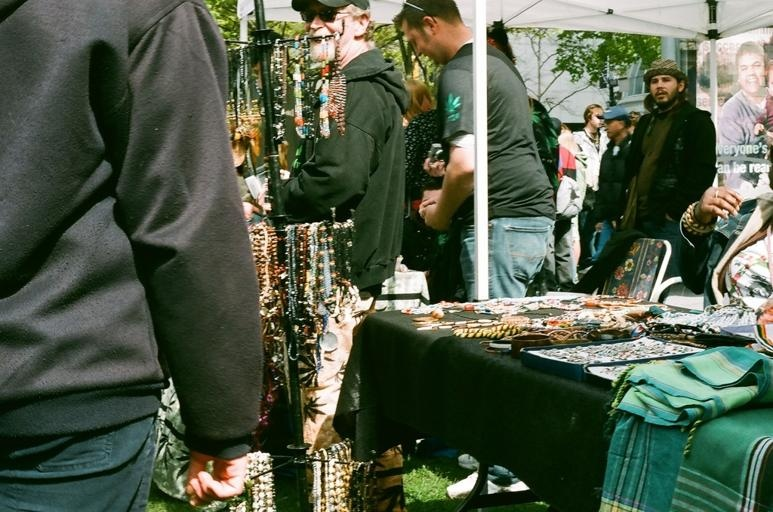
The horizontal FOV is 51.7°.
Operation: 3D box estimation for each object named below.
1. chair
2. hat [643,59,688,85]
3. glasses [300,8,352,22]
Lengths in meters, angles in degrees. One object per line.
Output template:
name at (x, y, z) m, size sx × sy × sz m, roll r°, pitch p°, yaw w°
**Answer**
chair at (1.197, 0.052, 3.763) m, size 0.399 × 0.412 × 0.369 m, roll -2°, pitch 4°, yaw -34°
hat at (1.976, -1.328, 5.691) m, size 0.290 × 0.166 × 0.254 m, roll 2°, pitch 9°, yaw 21°
glasses at (-0.272, -1.050, 3.477) m, size 0.206 × 0.062 × 0.074 m, roll -1°, pitch 9°, yaw 4°
